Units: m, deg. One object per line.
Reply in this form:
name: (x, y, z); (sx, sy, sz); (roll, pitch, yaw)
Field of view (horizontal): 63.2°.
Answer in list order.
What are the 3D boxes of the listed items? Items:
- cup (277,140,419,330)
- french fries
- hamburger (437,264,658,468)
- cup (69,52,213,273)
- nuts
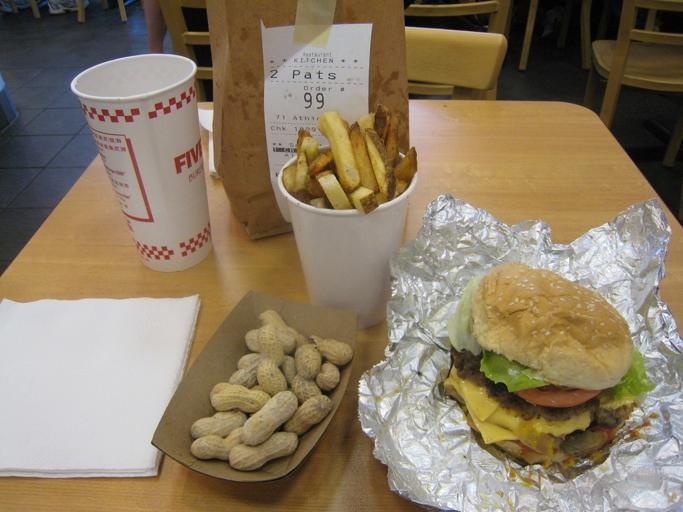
cup: (0.002, -0.041, 1.474); (0.352, 0.400, 0.353); (0, 38, 0)
french fries: (0.025, -0.197, 1.253); (0.294, 0.267, 0.216); (-2, 26, -6)
hamburger: (0.426, 0.247, 1.205); (0.434, 0.308, 0.307); (25, 43, 29)
cup: (-0.499, -0.238, 1.460); (0.289, 0.503, 0.250); (-3, 36, -4)
nuts: (-0.151, 0.224, 1.117); (0.226, 0.101, 0.321); (16, 54, 16)
